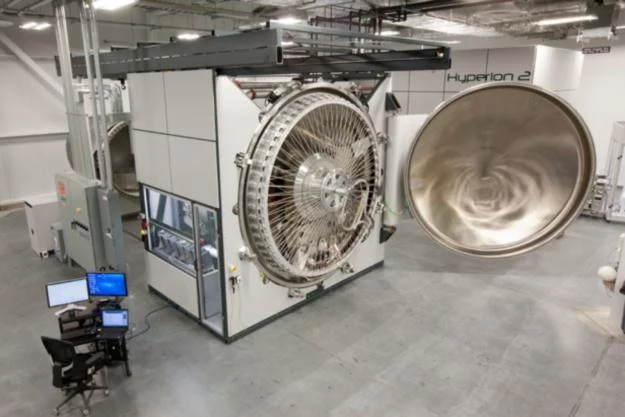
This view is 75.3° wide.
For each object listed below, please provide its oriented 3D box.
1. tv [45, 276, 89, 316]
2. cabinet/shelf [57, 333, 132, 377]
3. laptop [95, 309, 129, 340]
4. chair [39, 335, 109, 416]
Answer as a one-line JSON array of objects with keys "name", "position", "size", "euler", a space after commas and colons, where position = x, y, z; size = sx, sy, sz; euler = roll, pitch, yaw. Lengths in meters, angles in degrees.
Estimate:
[{"name": "tv", "position": [-4.890, 1.759, 8.028], "size": [0.819, 0.741, 0.291], "euler": [-9, 17, -33]}, {"name": "cabinet/shelf", "position": [-3.826, 2.519, 7.440], "size": [1.089, 0.624, 0.820], "euler": [-4, 11, -20]}, {"name": "laptop", "position": [-3.666, 2.073, 7.329], "size": [0.470, 0.374, 0.393], "euler": [1, 14, -6]}, {"name": "chair", "position": [-4.068, 2.877, 6.897], "size": [0.804, 1.081, 0.757], "euler": [20, 35, 24]}]
